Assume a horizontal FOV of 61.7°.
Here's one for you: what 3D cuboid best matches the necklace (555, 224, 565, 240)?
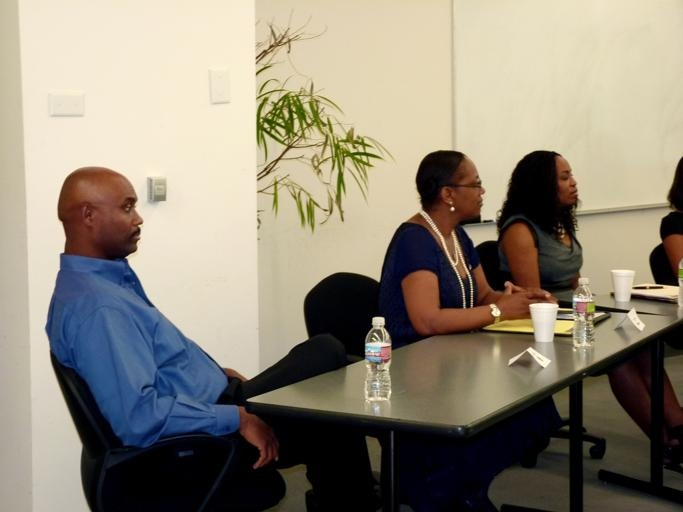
[{"bbox_3d":[1.216,-0.137,3.167,0.056,0.081,0.078,1,-11,-5],"label":"necklace"}]

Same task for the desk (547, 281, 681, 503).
[{"bbox_3d":[1.258,0.642,2.617,0.437,0.485,0.914,0,2,32],"label":"desk"}]

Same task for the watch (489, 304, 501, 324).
[{"bbox_3d":[0.610,0.222,2.261,0.053,0.063,0.056,-5,-4,4],"label":"watch"}]

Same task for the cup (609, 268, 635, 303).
[{"bbox_3d":[1.496,0.154,3.012,0.137,0.177,0.146,1,-7,0],"label":"cup"}]

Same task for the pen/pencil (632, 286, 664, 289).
[{"bbox_3d":[1.715,0.172,3.191,0.161,0.021,0.021,1,-3,-9],"label":"pen/pencil"}]

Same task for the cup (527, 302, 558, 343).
[{"bbox_3d":[0.710,0.240,2.036,0.112,0.144,0.119,0,-5,0],"label":"cup"}]

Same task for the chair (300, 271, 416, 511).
[{"bbox_3d":[0.023,0.439,2.505,0.447,0.600,0.505,-5,16,32],"label":"chair"}]
